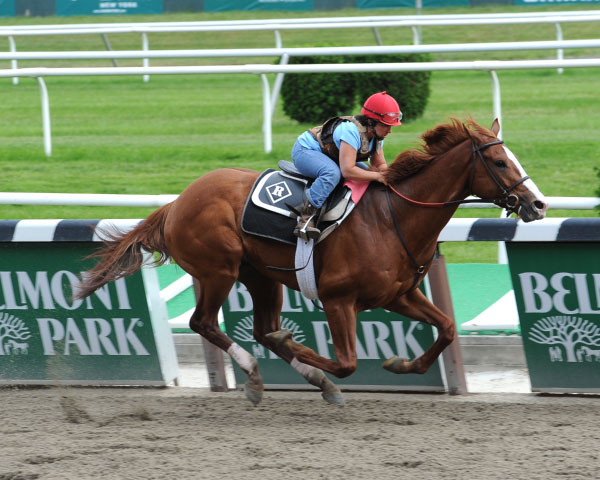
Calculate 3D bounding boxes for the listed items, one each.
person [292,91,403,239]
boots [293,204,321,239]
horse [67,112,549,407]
[{"bbox_3d":[0.217,-0.398,5.180,0.629,0.745,0.421,-5,9,-9],"label":"person"},{"bbox_3d":[0.034,-0.095,5.052,0.130,0.183,0.123,-2,8,12],"label":"boots"},{"bbox_3d":[0.021,0.121,5.646,3.489,1.557,0.813,2,8,38],"label":"horse"}]
